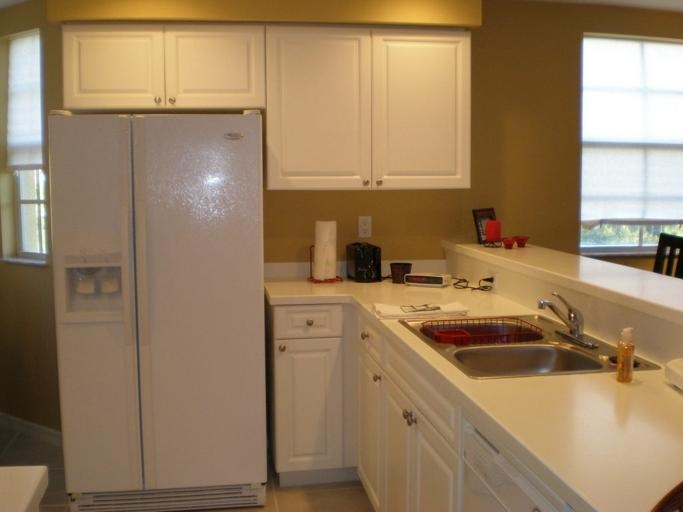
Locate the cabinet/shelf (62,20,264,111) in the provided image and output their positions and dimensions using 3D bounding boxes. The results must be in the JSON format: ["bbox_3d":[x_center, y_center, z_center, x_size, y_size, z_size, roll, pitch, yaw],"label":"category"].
[{"bbox_3d":[-1.012,-1.124,3.252,1.070,0.515,0.363,-7,45,-22],"label":"cabinet/shelf"}]

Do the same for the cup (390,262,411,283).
[{"bbox_3d":[0.353,0.099,3.517,0.103,0.098,0.121,2,-2,4],"label":"cup"}]

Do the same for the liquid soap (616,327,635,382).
[{"bbox_3d":[0.974,0.334,1.980,0.053,0.172,0.132,2,9,26],"label":"liquid soap"}]

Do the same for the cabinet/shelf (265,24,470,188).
[{"bbox_3d":[0.158,-0.833,3.521,1.207,0.984,0.439,0,-3,-5],"label":"cabinet/shelf"}]

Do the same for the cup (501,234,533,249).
[{"bbox_3d":[1.054,-0.084,3.492,0.125,0.044,0.096,-3,7,-11],"label":"cup"}]

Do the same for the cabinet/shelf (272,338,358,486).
[{"bbox_3d":[-0.254,0.852,3.384,0.462,0.804,0.562,1,-5,-12],"label":"cabinet/shelf"}]
